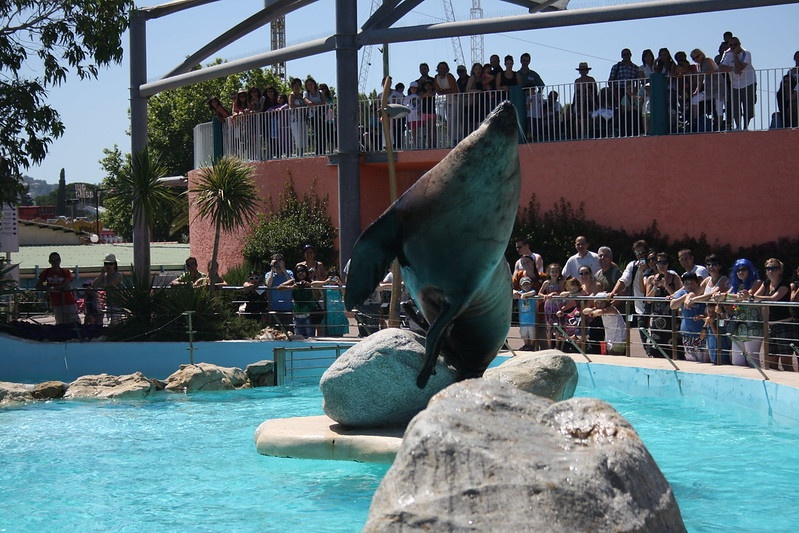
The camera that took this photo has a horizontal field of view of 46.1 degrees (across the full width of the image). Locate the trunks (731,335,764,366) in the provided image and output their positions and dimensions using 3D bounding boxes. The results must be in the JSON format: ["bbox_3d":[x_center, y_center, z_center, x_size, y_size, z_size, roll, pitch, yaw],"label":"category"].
[{"bbox_3d":[5.772,1.383,15.466,0.403,0.533,0.449,7,10,38],"label":"trunks"}]

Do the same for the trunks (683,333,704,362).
[{"bbox_3d":[5.174,1.431,16.344,0.273,0.328,0.518,1,-1,-11],"label":"trunks"}]

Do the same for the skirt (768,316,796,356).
[{"bbox_3d":[6.288,1.126,15.324,0.436,0.661,0.368,5,20,17],"label":"skirt"}]

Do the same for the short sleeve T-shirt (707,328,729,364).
[{"bbox_3d":[5.469,1.380,16.027,0.246,0.854,0.302,1,0,-24],"label":"short sleeve T-shirt"}]

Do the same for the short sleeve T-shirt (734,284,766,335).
[{"bbox_3d":[5.771,0.730,15.460,0.436,0.855,0.856,0,0,20],"label":"short sleeve T-shirt"}]

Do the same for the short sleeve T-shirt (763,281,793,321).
[{"bbox_3d":[6.190,0.568,15.263,0.348,0.719,0.540,0,-6,-26],"label":"short sleeve T-shirt"}]

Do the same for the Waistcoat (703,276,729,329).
[{"bbox_3d":[5.376,0.656,15.812,0.512,0.814,0.231,4,14,-2],"label":"Waistcoat"}]

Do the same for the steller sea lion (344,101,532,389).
[{"bbox_3d":[0.661,-0.293,12.746,1.936,4.195,1.731,18,30,-6],"label":"steller sea lion"}]

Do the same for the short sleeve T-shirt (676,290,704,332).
[{"bbox_3d":[5.043,0.758,16.276,0.505,0.732,0.320,-2,15,-28],"label":"short sleeve T-shirt"}]

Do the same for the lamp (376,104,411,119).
[{"bbox_3d":[-0.164,-2.942,17.885,0.498,0.169,0.355,-4,-9,26],"label":"lamp"}]
